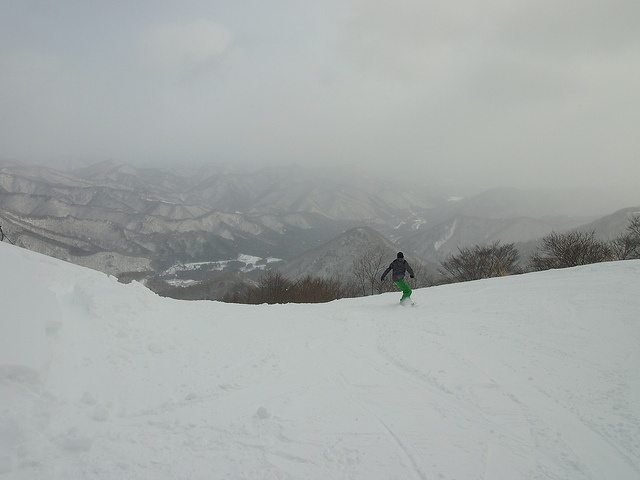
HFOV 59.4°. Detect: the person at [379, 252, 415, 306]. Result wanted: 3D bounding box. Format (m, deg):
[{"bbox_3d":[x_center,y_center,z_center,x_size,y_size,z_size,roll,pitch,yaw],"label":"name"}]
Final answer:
[{"bbox_3d":[3.534,1.749,25.508,1.344,2.561,0.851,-2,18,10],"label":"person"}]
